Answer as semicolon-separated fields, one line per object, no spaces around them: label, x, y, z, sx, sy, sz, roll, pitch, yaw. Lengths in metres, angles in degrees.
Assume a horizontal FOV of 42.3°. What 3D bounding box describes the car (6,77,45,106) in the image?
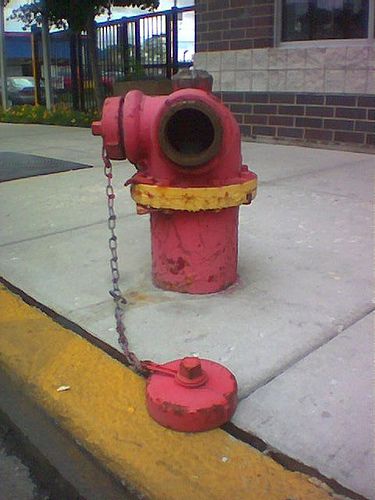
car;-7.156;-6.869;20.949;1.068;1.254;1.672;-6;15;-14
